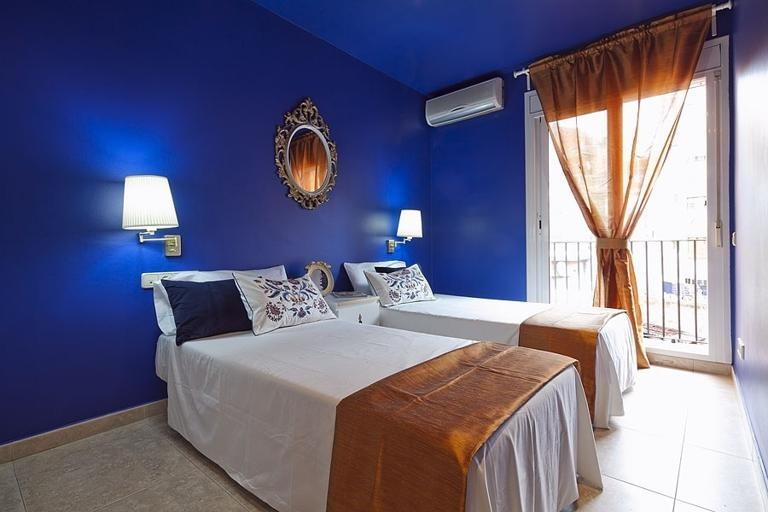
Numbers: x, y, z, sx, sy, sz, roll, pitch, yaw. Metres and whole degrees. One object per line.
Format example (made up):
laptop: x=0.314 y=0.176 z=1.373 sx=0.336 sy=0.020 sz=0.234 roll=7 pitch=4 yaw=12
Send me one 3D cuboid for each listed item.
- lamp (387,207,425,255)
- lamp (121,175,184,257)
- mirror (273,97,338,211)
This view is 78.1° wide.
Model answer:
lamp: x=0.244 y=-0.300 z=5.573 sx=0.367 sy=0.557 sz=0.562 roll=4 pitch=-10 yaw=-34
lamp: x=-1.890 y=-0.310 z=3.776 sx=0.395 sy=0.616 sz=0.408 roll=-3 pitch=11 yaw=-22
mirror: x=-0.790 y=-1.019 z=4.717 sx=0.123 sy=0.921 sz=0.696 roll=-4 pitch=4 yaw=43
